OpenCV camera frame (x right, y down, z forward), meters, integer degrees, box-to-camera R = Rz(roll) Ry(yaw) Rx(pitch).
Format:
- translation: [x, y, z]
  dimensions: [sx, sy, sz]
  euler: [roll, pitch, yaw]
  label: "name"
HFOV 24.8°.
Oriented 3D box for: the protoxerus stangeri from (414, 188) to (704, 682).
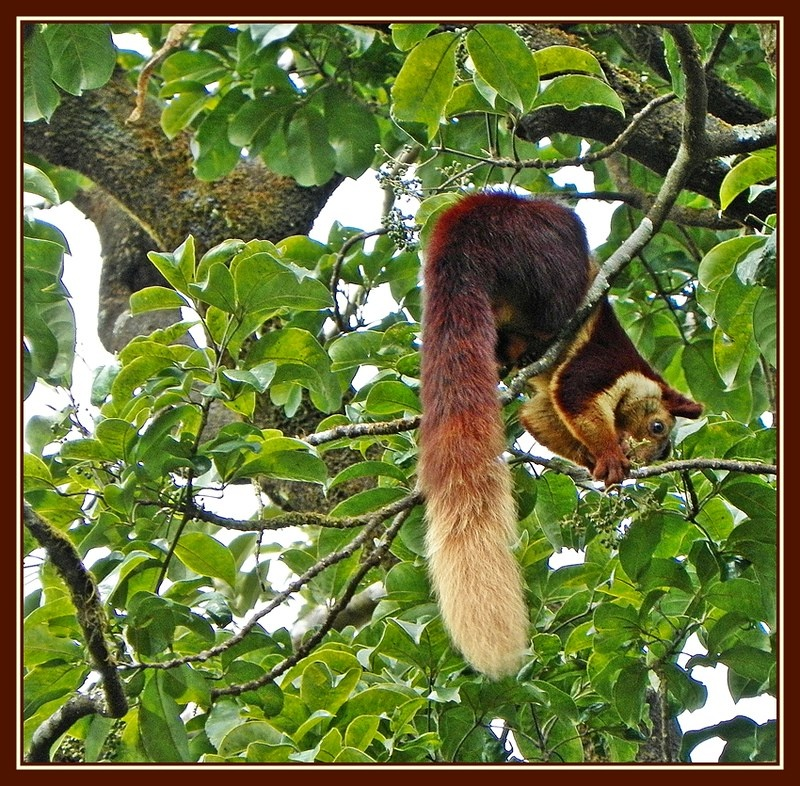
- translation: [0.501, 0.177, 6.048]
  dimensions: [0.552, 0.888, 1.735]
  euler: [0, -62, 42]
  label: "protoxerus stangeri"
